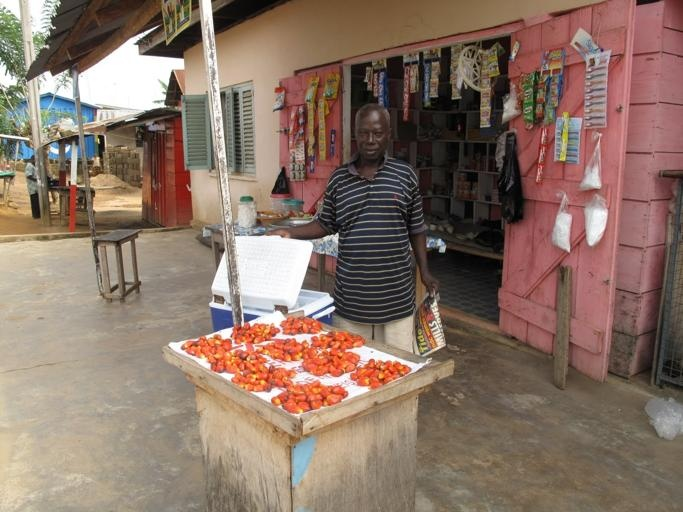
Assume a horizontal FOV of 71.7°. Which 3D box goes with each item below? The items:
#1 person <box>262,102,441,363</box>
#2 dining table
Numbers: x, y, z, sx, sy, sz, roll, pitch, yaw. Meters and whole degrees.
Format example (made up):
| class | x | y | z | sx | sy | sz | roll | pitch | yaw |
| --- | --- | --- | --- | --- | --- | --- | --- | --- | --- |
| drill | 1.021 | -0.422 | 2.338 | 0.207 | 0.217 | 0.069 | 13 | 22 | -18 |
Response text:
| class | x | y | z | sx | sy | sz | roll | pitch | yaw |
| --- | --- | --- | --- | --- | --- | --- | --- | --- | --- |
| person | 0.093 | -0.114 | 3.303 | 0.775 | 1.820 | 0.915 | 3 | 4 | 37 |
| dining table | -1.216 | 0.022 | 7.373 | 1.568 | 1.690 | 1.977 | -13 | 6 | -7 |
